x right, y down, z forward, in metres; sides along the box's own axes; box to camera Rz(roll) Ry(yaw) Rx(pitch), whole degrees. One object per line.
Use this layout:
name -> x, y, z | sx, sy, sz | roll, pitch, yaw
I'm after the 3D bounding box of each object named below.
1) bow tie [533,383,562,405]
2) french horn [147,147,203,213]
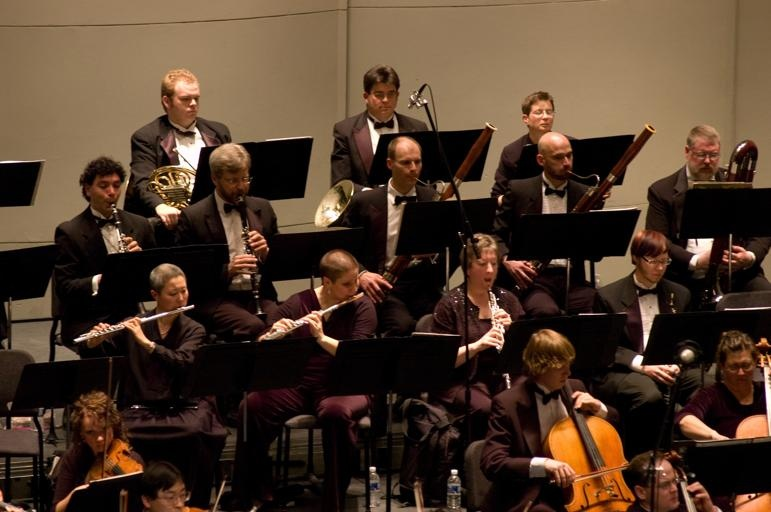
bow tie -> 1.055, 0.868, 4.956 | 0.139, 0.096, 0.134 | -1, 10, -19
french horn -> -1.758, -0.624, 6.382 | 0.344, 0.432, 0.132 | 14, -11, -6
